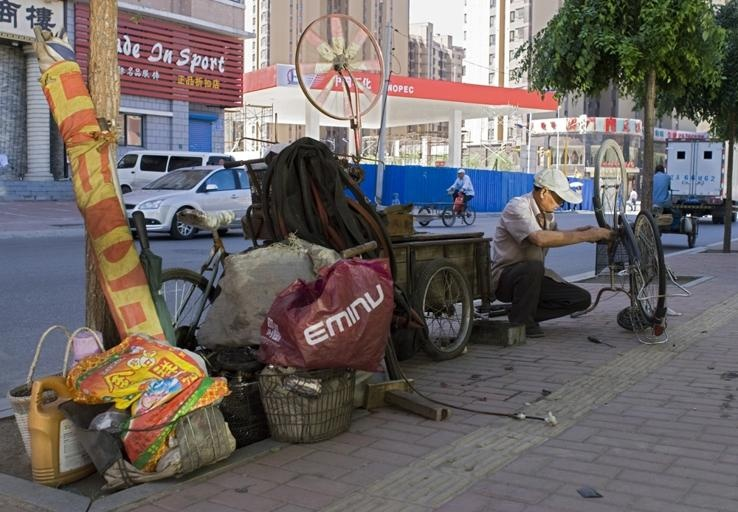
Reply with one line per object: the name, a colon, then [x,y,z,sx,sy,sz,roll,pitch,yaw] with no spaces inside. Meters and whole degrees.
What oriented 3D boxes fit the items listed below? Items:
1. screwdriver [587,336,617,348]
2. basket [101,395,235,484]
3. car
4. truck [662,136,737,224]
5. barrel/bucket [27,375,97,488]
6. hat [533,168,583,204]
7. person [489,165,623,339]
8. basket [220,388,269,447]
screwdriver: [2.479,0.907,7.482,0.076,0.069,0.371,-47,25,-14]
basket: [-1.270,1.148,4.514,0.526,0.299,0.700,-14,-1,37]
car: [-4.459,-1.553,18.268,2.576,1.745,4.129,-1,-2,43]
truck: [13.681,-3.356,29.639,3.334,3.687,6.283,2,4,25]
barrel/bucket: [-2.017,1.131,4.514,0.274,0.692,0.325,0,8,19]
hat: [1.923,-0.726,7.382,0.590,0.277,0.363,21,16,6]
person: [1.895,-0.031,7.619,1.106,1.852,0.894,-1,7,9]
basket: [-0.874,1.130,5.168,0.424,0.403,0.410,-14,-3,-13]
